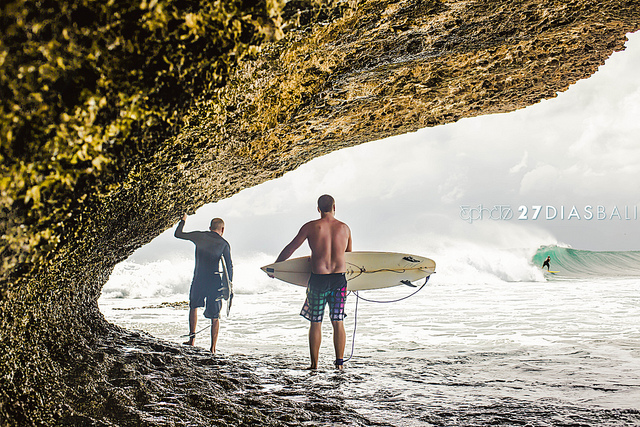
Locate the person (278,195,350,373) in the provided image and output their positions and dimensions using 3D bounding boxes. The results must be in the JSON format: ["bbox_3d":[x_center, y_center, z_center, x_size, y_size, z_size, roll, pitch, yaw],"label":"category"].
[{"bbox_3d":[0.038,0.940,12.720,0.775,2.372,0.911,-1,2,5],"label":"person"}]

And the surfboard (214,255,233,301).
[{"bbox_3d":[-1.387,0.973,13.523,0.226,0.631,0.082,-2,-2,15],"label":"surfboard"}]
